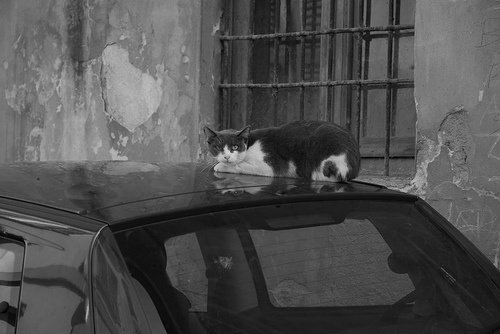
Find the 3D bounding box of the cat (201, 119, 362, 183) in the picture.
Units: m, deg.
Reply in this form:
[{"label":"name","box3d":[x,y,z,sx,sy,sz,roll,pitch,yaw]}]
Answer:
[{"label":"cat","box3d":[0.225,-0.104,3.444,0.832,0.361,0.491,-1,2,33]}]
